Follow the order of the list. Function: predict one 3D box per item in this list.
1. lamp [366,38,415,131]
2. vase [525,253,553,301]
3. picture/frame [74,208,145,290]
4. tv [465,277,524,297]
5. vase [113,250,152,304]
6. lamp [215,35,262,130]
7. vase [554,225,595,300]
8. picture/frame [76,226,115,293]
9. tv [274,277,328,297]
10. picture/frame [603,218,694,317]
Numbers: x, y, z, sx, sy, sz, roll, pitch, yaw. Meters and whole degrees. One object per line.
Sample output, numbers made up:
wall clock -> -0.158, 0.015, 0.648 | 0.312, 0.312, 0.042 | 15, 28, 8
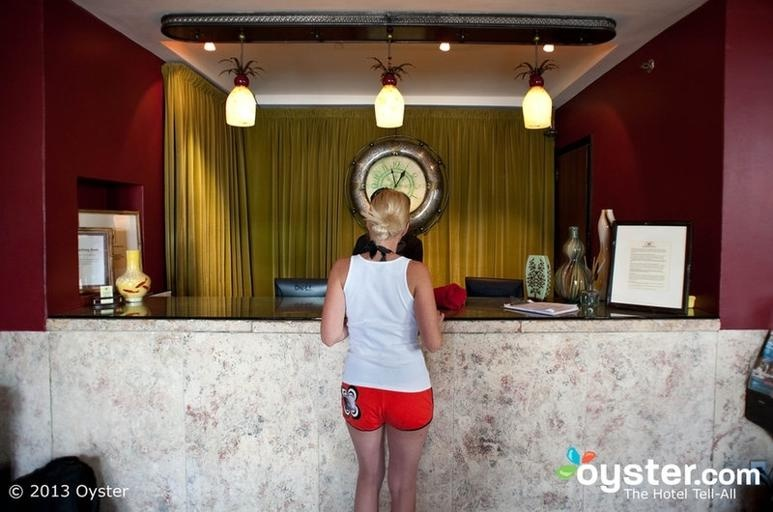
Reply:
lamp -> 0.000, -1.342, 4.803 | 0.301, 0.623, 0.278 | 1, 4, -33
vase -> 1.145, 0.173, 4.738 | 0.175, 0.336, 0.211 | -1, -4, 8
picture/frame -> -2.183, -0.038, 4.885 | 0.045, 0.689, 0.613 | -5, -4, 20
tv -> 0.875, 0.268, 5.149 | 0.334, 0.186, 0.320 | 1, -4, 12
vase -> -1.933, 0.162, 4.772 | 0.251, 0.400, 0.262 | 5, 7, 19
lamp -> -1.102, -1.354, 4.803 | 0.349, 0.699, 0.310 | 0, 6, 32
vase -> 1.356, 0.063, 4.688 | 0.281, 0.560, 0.290 | 6, -4, 14
picture/frame -> -2.257, 0.040, 4.826 | 0.050, 0.553, 0.475 | -3, 1, 21
tv -> -0.673, 0.257, 4.888 | 0.385, 0.144, 0.111 | 0, -4, -11
picture/frame -> 1.840, 0.087, 4.423 | 0.507, 0.684, 0.047 | 2, 28, 24
